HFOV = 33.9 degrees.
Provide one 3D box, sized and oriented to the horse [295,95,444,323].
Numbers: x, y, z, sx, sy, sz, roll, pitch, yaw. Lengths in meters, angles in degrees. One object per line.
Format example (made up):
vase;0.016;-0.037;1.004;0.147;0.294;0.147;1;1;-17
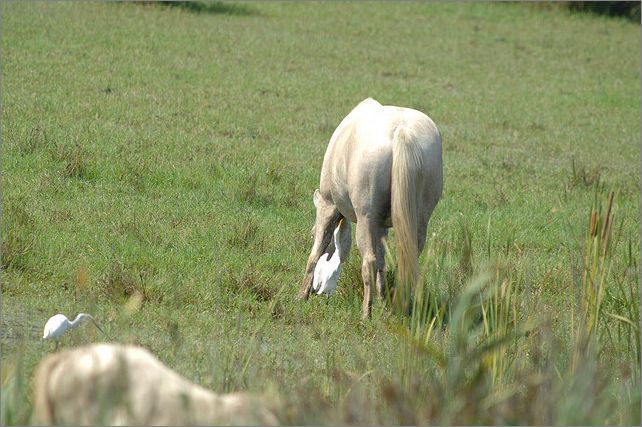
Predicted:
horse;0.797;-0.100;19.295;1.498;4.128;5.072;3;3;-15
